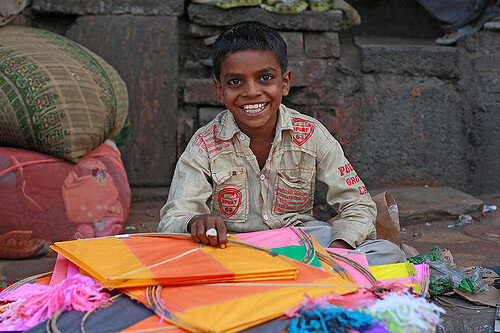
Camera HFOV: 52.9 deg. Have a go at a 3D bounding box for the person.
[{"bbox_3d":[0.044,-0.109,3.150,1.483,1.672,1.169,-7,14,-15],"label":"person"}]

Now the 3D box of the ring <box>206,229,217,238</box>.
[{"bbox_3d":[-0.188,0.326,2.474,0.058,0.041,0.020,2,3,-3],"label":"ring"}]
